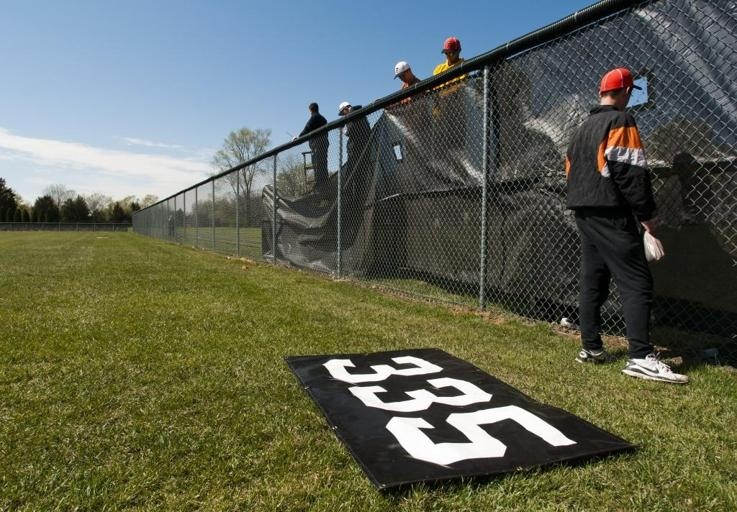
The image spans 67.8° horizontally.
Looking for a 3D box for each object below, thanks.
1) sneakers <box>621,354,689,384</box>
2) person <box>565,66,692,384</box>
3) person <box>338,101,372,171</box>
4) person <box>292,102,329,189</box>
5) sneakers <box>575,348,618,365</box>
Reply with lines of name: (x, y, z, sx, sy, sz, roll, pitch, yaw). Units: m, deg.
sneakers: (1.887, 0.745, 3.658, 0.400, 0.197, 0.146, 0, -1, 17)
person: (1.755, -0.264, 3.835, 0.335, 2.124, 0.818, -1, 5, -30)
person: (-0.199, -1.654, 7.563, 0.358, 0.992, 1.429, 1, 4, -4)
person: (-0.831, -1.729, 8.355, 0.410, 1.489, 1.887, 1, 5, -7)
sneakers: (1.672, 0.734, 4.015, 0.283, 0.135, 0.109, 0, 1, -9)
